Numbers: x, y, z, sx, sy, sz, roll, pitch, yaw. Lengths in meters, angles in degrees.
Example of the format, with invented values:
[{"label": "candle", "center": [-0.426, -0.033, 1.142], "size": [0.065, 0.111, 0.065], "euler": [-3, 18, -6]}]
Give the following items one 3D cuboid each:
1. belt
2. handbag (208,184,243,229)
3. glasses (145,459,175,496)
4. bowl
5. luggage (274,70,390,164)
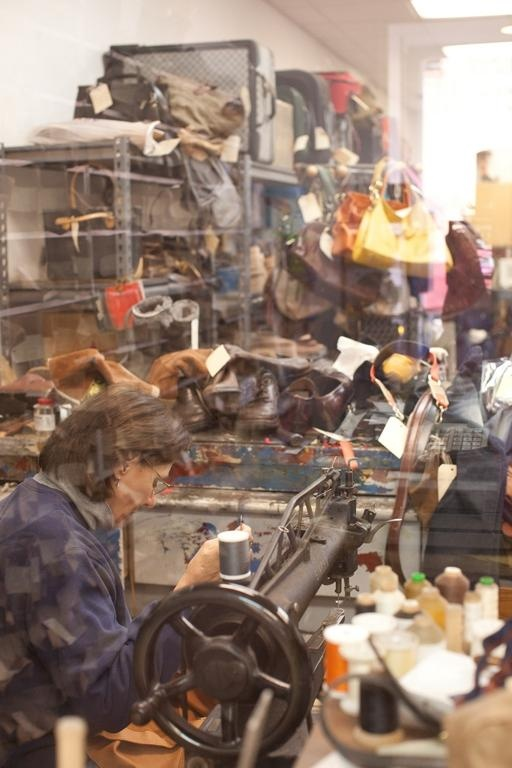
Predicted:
[{"label": "belt", "center": [0.274, 0.120, 1.094], "size": [0.077, 0.313, 0.177], "euler": [12, 2, 24]}, {"label": "handbag", "center": [-0.043, -0.268, 1.009], "size": [0.040, 0.069, 0.034], "euler": [0, 15, 28]}, {"label": "glasses", "center": [-0.166, 0.161, 1.185], "size": [0.023, 0.073, 0.072], "euler": [-16, -18, 6]}, {"label": "bowl", "center": [0.202, 0.321, 0.719], "size": [0.046, 0.018, 0.081], "euler": [10, 11, 34]}, {"label": "luggage", "center": [0.105, -0.364, 0.898], "size": [0.149, 0.124, 0.052], "euler": [6, 10, 31]}]
